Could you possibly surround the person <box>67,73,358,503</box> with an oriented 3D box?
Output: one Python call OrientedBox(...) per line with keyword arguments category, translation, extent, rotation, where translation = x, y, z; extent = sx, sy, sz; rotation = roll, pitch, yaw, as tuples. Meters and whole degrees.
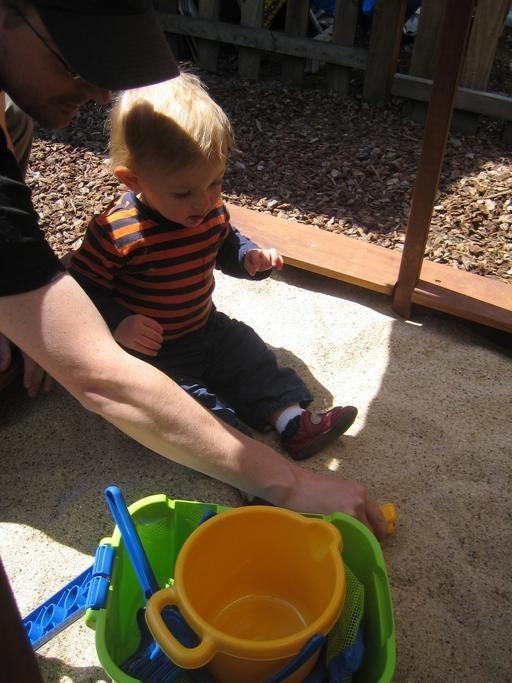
OrientedBox(category="person", translation=(-0.071, -0.162, 1.326), extent=(0.781, 0.868, 0.479), rotation=(31, 48, 20))
